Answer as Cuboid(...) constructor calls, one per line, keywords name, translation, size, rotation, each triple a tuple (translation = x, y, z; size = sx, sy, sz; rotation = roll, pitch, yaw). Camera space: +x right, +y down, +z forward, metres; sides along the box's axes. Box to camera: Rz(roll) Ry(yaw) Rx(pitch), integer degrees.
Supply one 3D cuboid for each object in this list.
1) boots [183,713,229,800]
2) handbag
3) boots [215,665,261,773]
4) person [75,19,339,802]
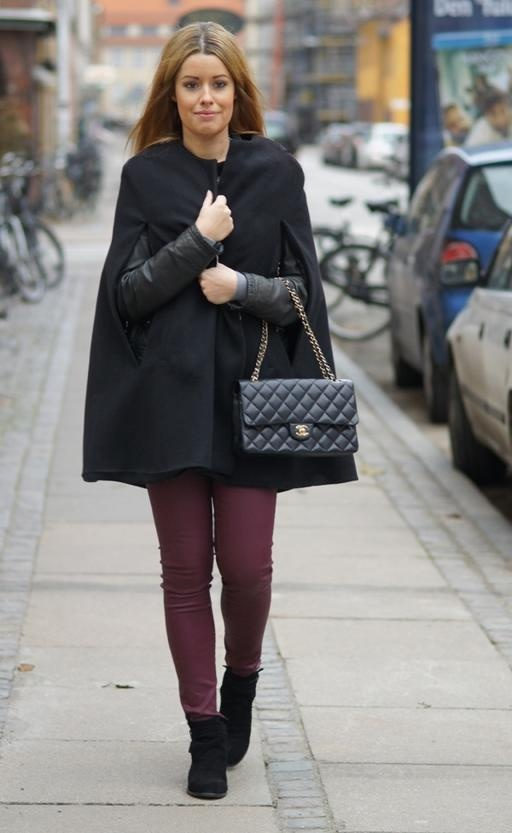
Cuboid(name="boots", translation=(-0.082, 0.735, 1.969), size=(0.073, 0.120, 0.190), rotation=(0, -1, 0))
Cuboid(name="handbag", translation=(0.079, -0.094, 1.926), size=(0.264, 0.375, 0.219), rotation=(0, 8, -11))
Cuboid(name="boots", translation=(-0.028, 0.690, 2.163), size=(0.128, 0.339, 0.229), rotation=(-3, 61, 2))
Cuboid(name="person", translation=(-0.084, -0.004, 2.011), size=(0.489, 1.653, 0.407), rotation=(7, 10, 33))
